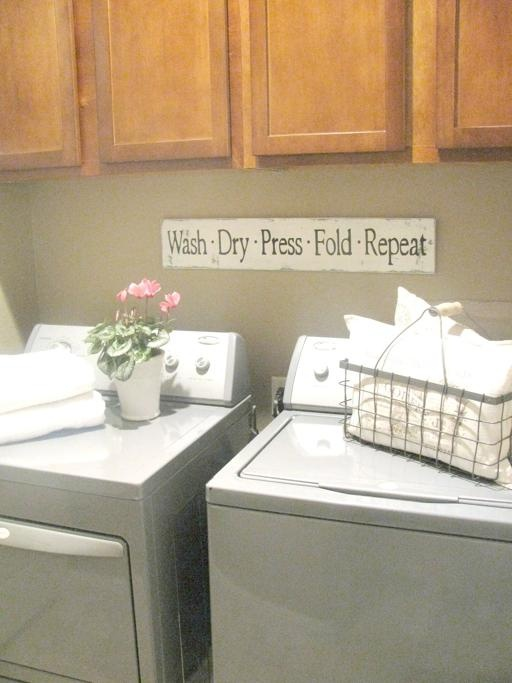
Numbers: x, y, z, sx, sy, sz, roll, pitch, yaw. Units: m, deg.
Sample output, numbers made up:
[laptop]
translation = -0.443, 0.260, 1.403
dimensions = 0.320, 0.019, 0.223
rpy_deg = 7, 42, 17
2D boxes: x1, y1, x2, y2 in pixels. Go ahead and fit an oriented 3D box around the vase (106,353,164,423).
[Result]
[vase]
translation = -0.285, 0.126, 1.712
dimensions = 0.169, 0.173, 0.164
rpy_deg = -1, 16, -3
